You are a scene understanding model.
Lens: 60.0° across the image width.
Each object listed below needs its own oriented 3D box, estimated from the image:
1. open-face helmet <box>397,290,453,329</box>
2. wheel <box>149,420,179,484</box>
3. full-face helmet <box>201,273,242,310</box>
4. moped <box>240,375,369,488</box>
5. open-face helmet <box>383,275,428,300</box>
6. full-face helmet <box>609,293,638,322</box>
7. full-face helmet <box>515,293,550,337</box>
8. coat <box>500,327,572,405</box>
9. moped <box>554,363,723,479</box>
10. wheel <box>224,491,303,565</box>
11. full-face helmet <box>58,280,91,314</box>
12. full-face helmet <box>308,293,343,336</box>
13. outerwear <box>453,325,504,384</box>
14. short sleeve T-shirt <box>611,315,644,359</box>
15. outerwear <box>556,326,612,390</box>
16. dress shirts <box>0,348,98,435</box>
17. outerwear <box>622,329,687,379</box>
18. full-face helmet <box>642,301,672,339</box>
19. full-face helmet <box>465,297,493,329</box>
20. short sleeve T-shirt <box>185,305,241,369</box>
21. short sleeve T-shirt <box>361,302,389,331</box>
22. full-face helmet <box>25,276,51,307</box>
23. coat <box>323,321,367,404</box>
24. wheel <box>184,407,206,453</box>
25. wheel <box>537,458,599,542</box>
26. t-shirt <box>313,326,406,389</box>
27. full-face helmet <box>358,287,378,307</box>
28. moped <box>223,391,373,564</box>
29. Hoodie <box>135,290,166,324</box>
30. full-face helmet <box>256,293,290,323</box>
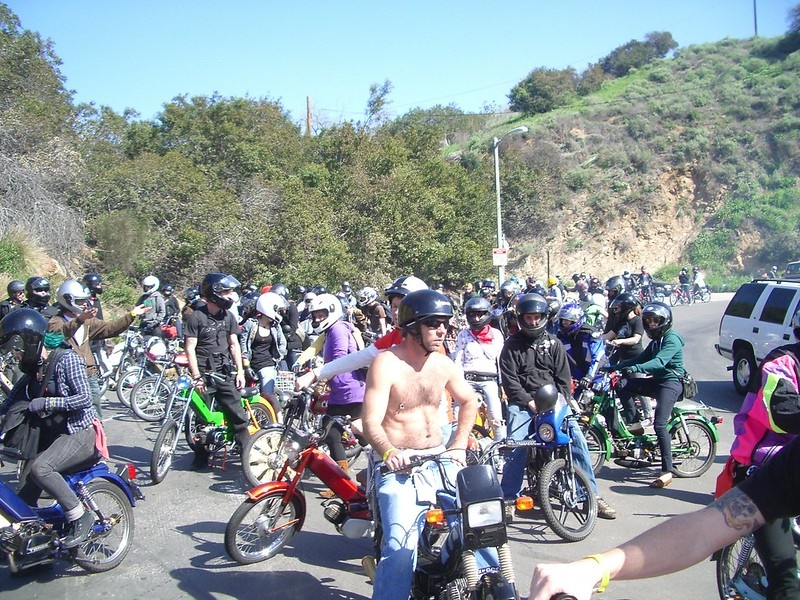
[{"bbox_3d":[0.210,0.084,5.909,0.381,0.313,0.310,8,0,18],"label":"open-face helmet"},{"bbox_3d":[-3.141,2.055,9.220,0.158,0.658,0.632,8,18,15],"label":"wheel"},{"bbox_3d":[-2.515,-0.141,9.610,0.493,0.456,0.407,6,5,7],"label":"full-face helmet"},{"bbox_3d":[-1.180,1.648,8.383,1.711,1.165,0.970,0,0,-43],"label":"moped"},{"bbox_3d":[0.025,-0.146,7.770,0.352,0.185,0.263,1,-11,8],"label":"open-face helmet"},{"bbox_3d":[3.520,0.096,10.956,0.438,0.385,0.348,4,1,21],"label":"full-face helmet"},{"bbox_3d":[1.521,0.185,8.057,0.364,0.458,0.477,-2,5,7],"label":"full-face helmet"},{"bbox_3d":[1.505,0.838,8.467,0.913,1.203,0.796,0,-21,-3],"label":"coat"},{"bbox_3d":[3.217,1.636,9.400,2.269,1.566,1.198,2,-11,-3],"label":"moped"},{"bbox_3d":[-1.378,2.350,7.070,0.608,0.654,0.207,20,19,-33],"label":"wheel"},{"bbox_3d":[-4.001,-0.069,8.631,0.414,0.446,0.341,7,12,11],"label":"full-face helmet"},{"bbox_3d":[-0.995,0.176,9.146,0.494,0.520,0.405,4,-9,-24],"label":"full-face helmet"},{"bbox_3d":[1.046,0.748,9.248,0.652,0.733,0.425,2,-24,-4],"label":"outerwear"},{"bbox_3d":[3.472,0.575,10.609,0.346,0.680,0.626,0,-6,5],"label":"short sleeve T-shirt"},{"bbox_3d":[2.391,0.777,9.160,0.523,0.650,0.454,-27,-24,24],"label":"outerwear"},{"bbox_3d":[-3.582,0.906,7.070,0.826,0.917,0.806,-14,3,-37],"label":"dress shirts"},{"bbox_3d":[3.350,0.714,9.238,0.719,0.595,0.563,0,-3,-4],"label":"outerwear"},{"bbox_3d":[3.435,0.271,9.273,0.386,0.513,0.502,-4,-13,41],"label":"full-face helmet"},{"bbox_3d":[1.089,0.190,9.686,0.323,0.357,0.421,-1,-4,11],"label":"full-face helmet"},{"bbox_3d":[-2.586,0.532,9.492,0.472,0.944,0.823,-3,-4,39],"label":"short sleeve T-shirt"},{"bbox_3d":[-0.570,0.341,14.409,0.385,0.457,0.249,-34,-12,1],"label":"short sleeve T-shirt"},{"bbox_3d":[-5.964,-0.178,11.471,0.496,0.522,0.400,18,13,36],"label":"full-face helmet"},{"bbox_3d":[-0.658,0.749,7.968,0.571,1.100,0.978,-2,-2,7],"label":"coat"},{"bbox_3d":[-2.810,1.763,9.426,0.107,0.536,0.522,1,-6,-22],"label":"wheel"},{"bbox_3d":[1.803,2.173,7.532,0.201,0.615,0.613,-28,22,44],"label":"wheel"},{"bbox_3d":[-0.308,0.599,6.881,0.743,0.514,1.048,-8,14,-33],"label":"t-shirt"},{"bbox_3d":[-0.588,-0.060,13.324,0.370,0.329,0.294,8,-2,-35],"label":"full-face helmet"},{"bbox_3d":[-1.170,1.879,7.275,1.316,1.623,2.034,-4,12,-16],"label":"moped"},{"bbox_3d":[-4.885,0.152,13.618,0.702,0.696,0.471,6,0,8],"label":"Hoodie"},{"bbox_3d":[-2.016,0.118,10.845,0.483,0.440,0.365,-1,9,-34],"label":"full-face helmet"}]
